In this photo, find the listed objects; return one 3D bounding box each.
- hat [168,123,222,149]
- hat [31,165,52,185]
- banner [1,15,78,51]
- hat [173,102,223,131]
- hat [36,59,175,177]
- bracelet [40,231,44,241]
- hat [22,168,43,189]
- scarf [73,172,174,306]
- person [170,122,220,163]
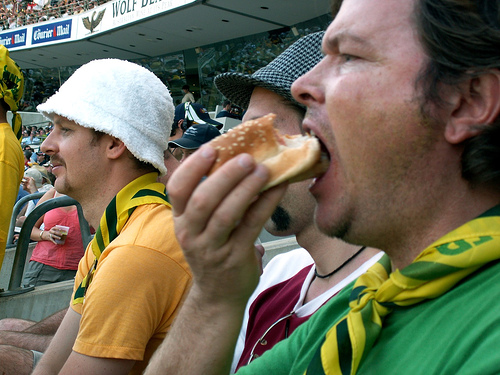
[{"bbox_3d":[-0.666,-0.657,6.184,0.739,0.310,0.448,-10,18,-42],"label":"hat"},{"bbox_3d":[-4.182,-0.247,9.902,0.288,0.147,0.352,16,-5,-3],"label":"hat"},{"bbox_3d":[-11.355,-8.252,26.607,6.849,1.633,0.466,11,3,36],"label":"banner"},{"bbox_3d":[-0.858,-1.128,7.537,0.640,0.278,0.429,23,17,17],"label":"hat"},{"bbox_3d":[-0.929,-0.454,3.990,0.872,0.783,0.745,-4,-14,18],"label":"hat"},{"bbox_3d":[-2.610,0.616,6.177,0.025,0.113,0.109,2,-18,-27],"label":"bracelet"},{"bbox_3d":[-4.208,-0.170,9.602,0.335,0.334,0.510,8,2,-24],"label":"hat"},{"bbox_3d":[-0.934,0.292,3.363,0.334,0.953,0.642,36,-21,-18],"label":"scarf"},{"bbox_3d":[-0.665,-0.596,6.227,0.806,0.469,0.518,2,-2,-29],"label":"person"}]
